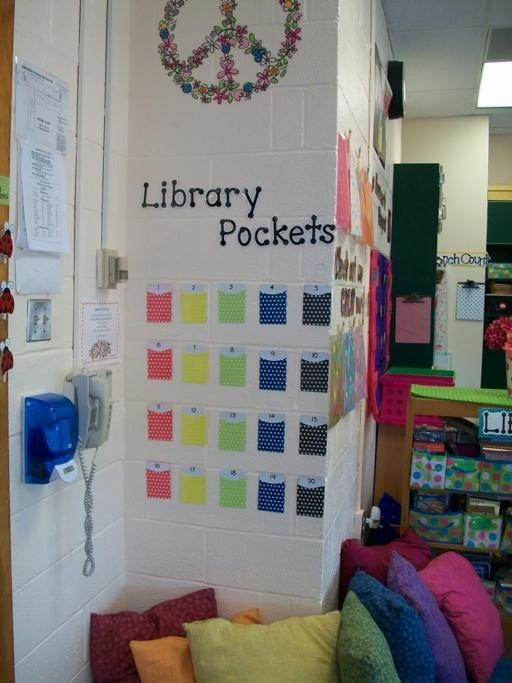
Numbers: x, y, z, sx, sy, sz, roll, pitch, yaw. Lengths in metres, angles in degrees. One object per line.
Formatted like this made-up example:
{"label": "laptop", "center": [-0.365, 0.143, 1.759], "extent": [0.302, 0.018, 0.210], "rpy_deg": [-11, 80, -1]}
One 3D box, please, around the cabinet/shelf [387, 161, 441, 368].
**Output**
{"label": "cabinet/shelf", "center": [1.030, -0.490, 3.497], "extent": [0.331, 1.309, 0.218], "rpy_deg": [2, 3, 7]}

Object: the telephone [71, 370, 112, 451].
{"label": "telephone", "center": [-0.381, 0.163, 1.284], "extent": [0.043, 0.190, 0.110], "rpy_deg": [6, 10, 26]}
